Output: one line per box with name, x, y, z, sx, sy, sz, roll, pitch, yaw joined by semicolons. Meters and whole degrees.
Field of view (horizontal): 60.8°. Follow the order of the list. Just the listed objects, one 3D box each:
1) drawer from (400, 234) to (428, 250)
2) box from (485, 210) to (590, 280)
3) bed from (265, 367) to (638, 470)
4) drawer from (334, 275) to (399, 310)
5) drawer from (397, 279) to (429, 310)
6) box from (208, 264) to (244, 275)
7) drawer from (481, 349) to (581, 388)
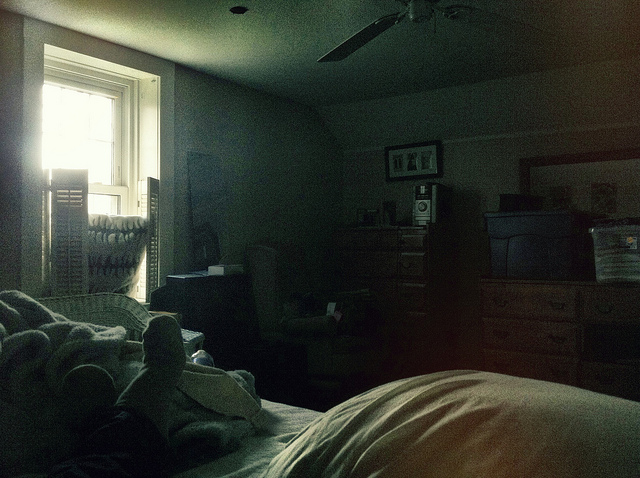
drawer;0.743;0.025;4.301;0.166;0.119;0.106;3;-12;23
box;1.537;0.023;3.818;0.509;0.373;0.521;-2;-2;43
bed;0.339;0.505;1.449;0.901;0.246;0.337;0;1;24
drawer;0.380;0.455;4.583;0.520;0.287;0.319;4;-18;-10
drawer;0.732;0.434;4.290;0.248;0.233;0.060;0;1;39
box;-0.630;0.209;3.635;0.225;0.059;0.129;-1;1;-15
drawer;1.412;0.860;3.673;0.617;0.182;0.070;0;1;27
